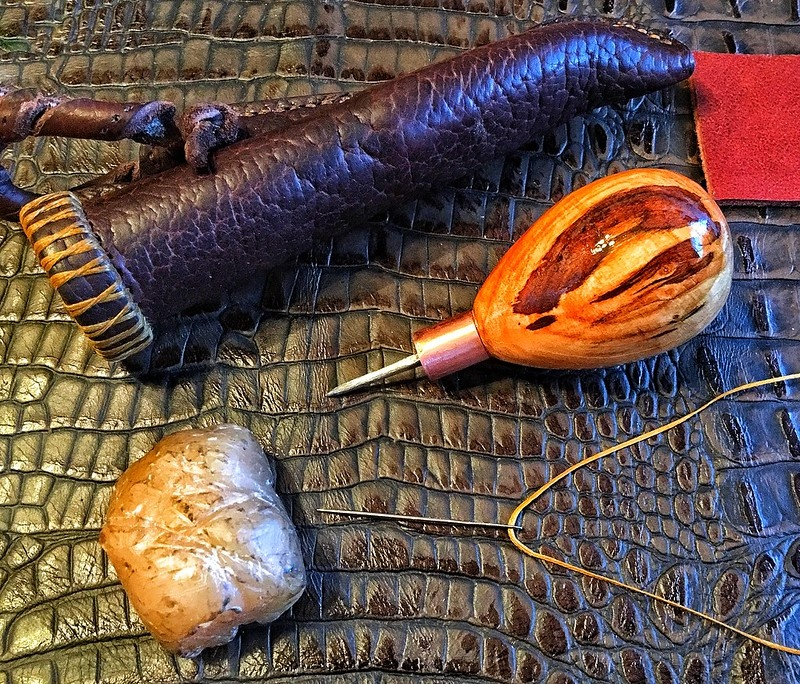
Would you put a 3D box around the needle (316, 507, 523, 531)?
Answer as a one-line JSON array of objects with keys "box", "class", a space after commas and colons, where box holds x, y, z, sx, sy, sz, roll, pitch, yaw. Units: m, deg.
[{"box": [0.013, 0.203, 1.734, 0.198, 0.010, 0.009, 4, 23, -3], "class": "needle"}]
